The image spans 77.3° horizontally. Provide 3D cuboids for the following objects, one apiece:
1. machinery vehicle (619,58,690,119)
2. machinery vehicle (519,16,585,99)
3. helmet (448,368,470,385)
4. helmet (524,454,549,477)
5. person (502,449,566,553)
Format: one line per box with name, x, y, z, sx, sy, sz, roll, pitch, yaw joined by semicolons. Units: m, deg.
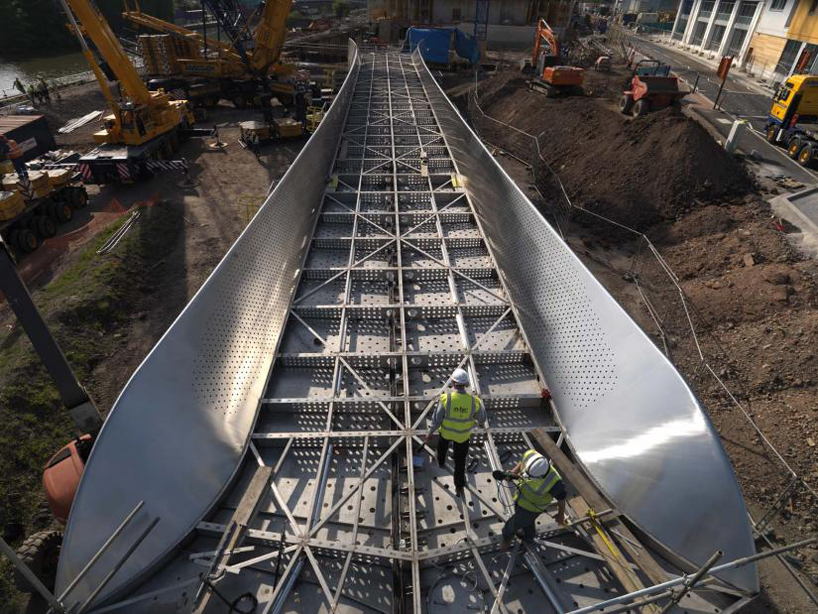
machinery vehicle;11.888;-10.721;24.885;2.180;2.369;3.239;-6;31;-2
machinery vehicle;8.435;-15.289;30.735;2.124;3.534;5.763;-6;36;-8
helmet;0.962;1.341;9.632;0.279;0.215;0.360;-3;38;-6
helmet;2.186;2.771;8.915;0.409;0.373;0.310;0;39;-17
person;2.190;3.497;9.173;1.139;1.790;0.720;-14;40;-19
